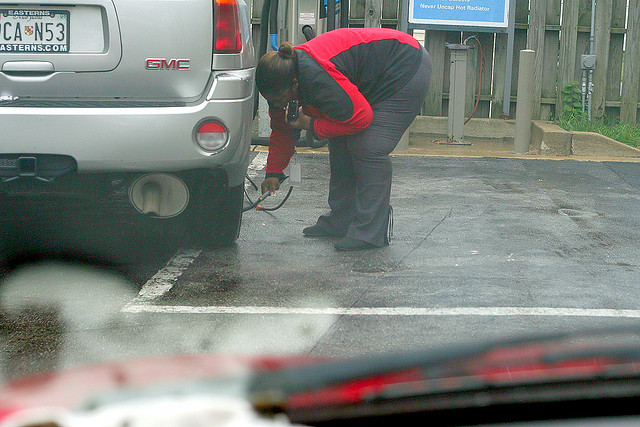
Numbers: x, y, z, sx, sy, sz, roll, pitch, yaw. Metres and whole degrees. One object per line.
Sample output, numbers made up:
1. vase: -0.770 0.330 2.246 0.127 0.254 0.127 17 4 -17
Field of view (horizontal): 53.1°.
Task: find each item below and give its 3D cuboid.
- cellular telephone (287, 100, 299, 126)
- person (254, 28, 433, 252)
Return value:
1. cellular telephone: -0.202 -0.748 4.778 0.084 0.185 0.061 1 12 -2
2. person: 0.187 -0.543 4.783 1.248 1.626 0.656 2 12 4
